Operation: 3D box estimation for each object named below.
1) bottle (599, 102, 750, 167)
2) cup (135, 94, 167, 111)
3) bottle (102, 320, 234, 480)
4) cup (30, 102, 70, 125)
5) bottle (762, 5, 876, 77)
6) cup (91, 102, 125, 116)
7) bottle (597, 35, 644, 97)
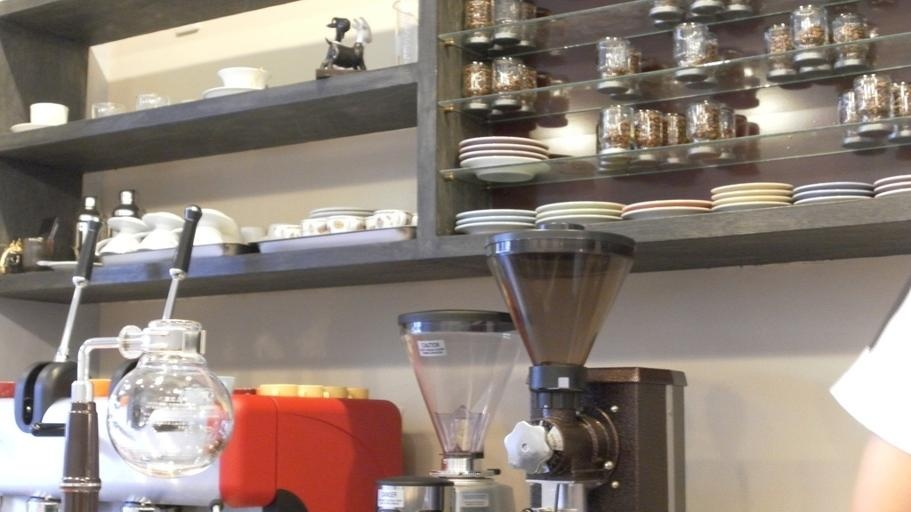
[{"bbox_3d":[0.633,-0.346,4.731,0.459,0.180,0.290,-1,-5,6],"label":"bottle"},{"bbox_3d":[-0.987,-0.481,5.172,0.077,0.042,0.069,1,-1,0],"label":"cup"},{"bbox_3d":[-0.744,0.363,4.193,0.318,0.400,0.117,1,-6,-8],"label":"bottle"},{"bbox_3d":[-1.323,-0.451,5.277,0.109,0.055,0.099,2,-6,-28],"label":"cup"},{"bbox_3d":[1.026,-0.597,4.610,0.317,0.127,0.210,0,-7,-1],"label":"bottle"},{"bbox_3d":[-1.135,-0.465,5.237,0.100,0.034,0.066,2,2,17],"label":"cup"},{"bbox_3d":[0.469,-0.547,4.726,0.183,0.159,0.166,-1,-17,10],"label":"bottle"}]
